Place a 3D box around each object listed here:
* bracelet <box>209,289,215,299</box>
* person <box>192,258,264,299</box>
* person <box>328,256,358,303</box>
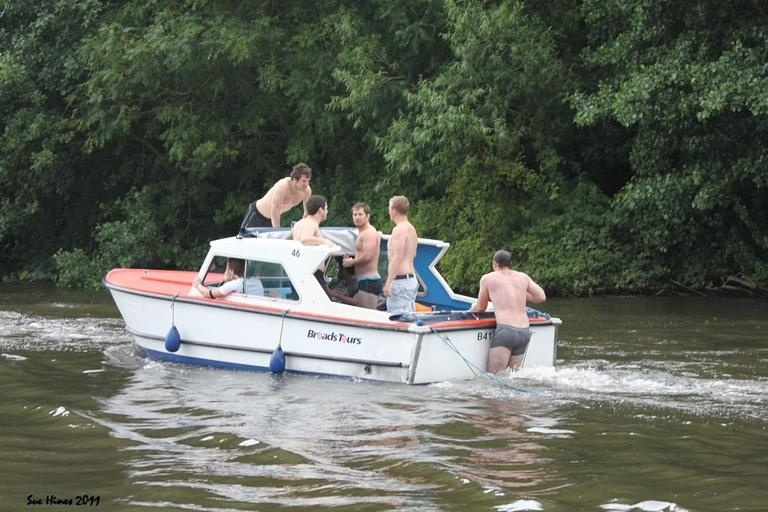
[{"bbox_3d":[-3.414,0.740,25.401,0.131,0.152,0.155,-7,-4,-27],"label":"bracelet"},{"bbox_3d":[-2.909,0.388,25.489,1.497,0.696,0.855,-15,-18,34],"label":"person"},{"bbox_3d":[-0.833,0.446,25.399,0.612,0.855,0.345,1,8,16],"label":"person"}]
